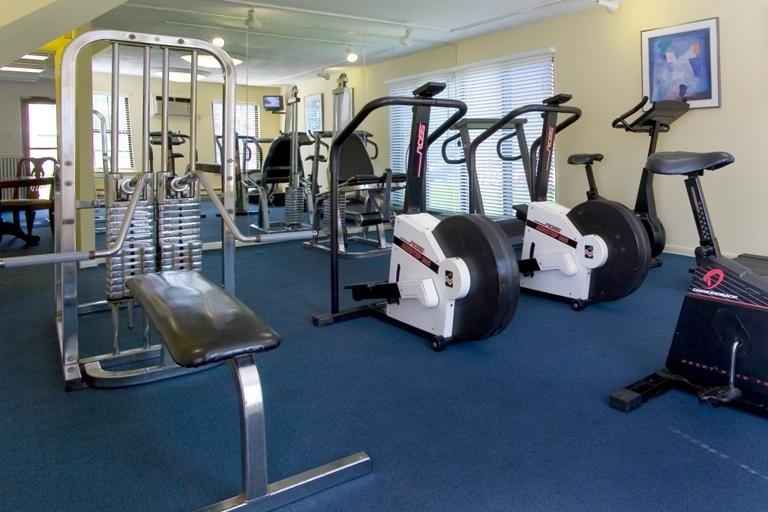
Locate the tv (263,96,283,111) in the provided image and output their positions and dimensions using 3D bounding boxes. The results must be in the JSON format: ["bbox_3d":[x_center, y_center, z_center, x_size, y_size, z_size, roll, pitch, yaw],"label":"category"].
[{"bbox_3d":[-1.410,-1.960,6.860,0.242,0.190,0.205,-2,5,-28],"label":"tv"}]
